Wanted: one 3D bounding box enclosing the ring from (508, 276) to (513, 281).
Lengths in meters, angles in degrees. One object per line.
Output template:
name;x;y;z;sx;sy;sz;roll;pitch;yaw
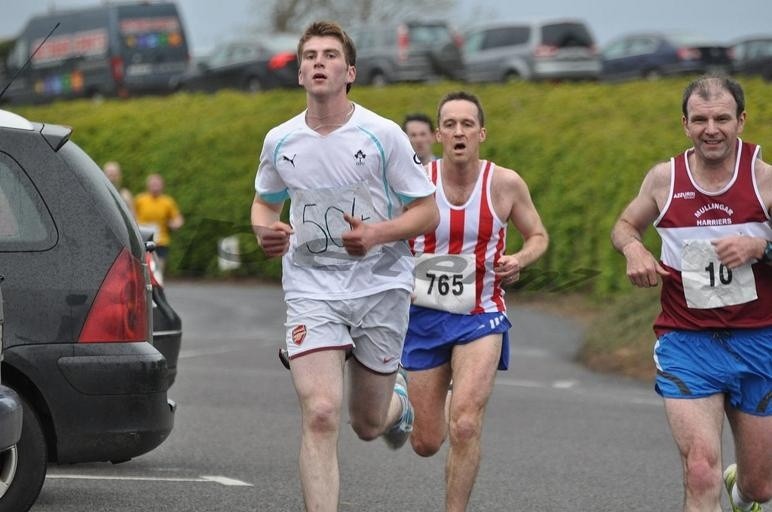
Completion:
ring;0.830;0.158;8.130;0.022;0.023;0.024;2;0;0

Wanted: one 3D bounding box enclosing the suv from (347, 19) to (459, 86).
suv;0.385;-3.508;22.404;1.526;1.172;3.095;-4;13;-8

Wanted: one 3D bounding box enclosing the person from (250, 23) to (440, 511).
person;-0.364;-0.009;7.515;0.896;2.734;1.167;10;21;40
